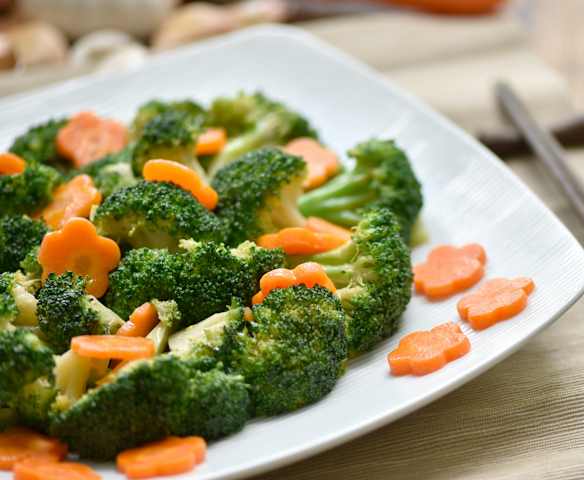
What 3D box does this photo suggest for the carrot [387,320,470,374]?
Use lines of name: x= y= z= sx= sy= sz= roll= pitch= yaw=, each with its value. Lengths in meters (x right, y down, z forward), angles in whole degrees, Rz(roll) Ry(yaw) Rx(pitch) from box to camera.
carrot: x=0.501 y=0.401 z=2.188 sx=0.219 sy=0.043 sz=0.206 roll=-19 pitch=9 yaw=11

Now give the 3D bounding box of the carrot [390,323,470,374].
carrot: x=0.512 y=0.396 z=2.190 sx=0.217 sy=0.043 sz=0.205 roll=-25 pitch=12 yaw=-20
